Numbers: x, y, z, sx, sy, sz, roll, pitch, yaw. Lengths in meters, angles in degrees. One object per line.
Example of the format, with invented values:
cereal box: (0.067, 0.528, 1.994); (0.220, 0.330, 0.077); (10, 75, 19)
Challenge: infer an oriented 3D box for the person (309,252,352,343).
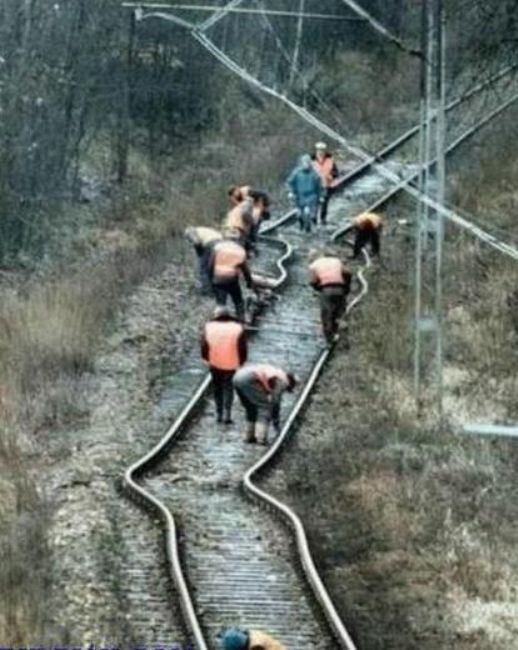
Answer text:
person: (1.023, -0.318, 17.621); (0.431, 1.285, 0.443); (-6, -15, 0)

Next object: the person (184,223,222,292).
person: (-0.827, -1.044, 18.349); (0.466, 1.032, 0.375); (-3, 23, -7)

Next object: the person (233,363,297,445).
person: (-0.051, 0.958, 16.146); (0.879, 1.169, 0.732); (-6, 13, -36)

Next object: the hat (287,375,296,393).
hat: (0.394, 0.726, 15.921); (0.121, 0.201, 0.084); (4, -3, 4)

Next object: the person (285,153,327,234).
person: (0.753, -2.108, 21.436); (0.563, 1.420, 0.538); (7, 27, 18)

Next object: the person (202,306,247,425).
person: (-0.483, 0.603, 16.290); (0.554, 1.651, 0.865); (3, 14, -4)

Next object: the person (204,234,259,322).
person: (-0.350, -0.608, 17.462); (0.603, 1.497, 0.513); (-1, 46, 4)
